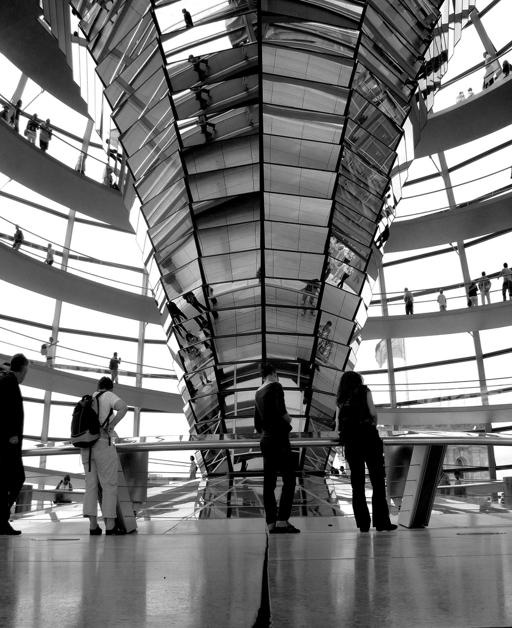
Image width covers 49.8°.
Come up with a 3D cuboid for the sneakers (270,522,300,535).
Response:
[{"bbox_3d":[0.279,2.148,5.550,0.330,0.154,0.120,-3,-2,9],"label":"sneakers"}]

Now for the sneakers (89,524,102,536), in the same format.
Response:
[{"bbox_3d":[-1.659,2.224,5.739,0.077,0.122,0.165,1,-8,9],"label":"sneakers"}]

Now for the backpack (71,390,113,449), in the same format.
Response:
[{"bbox_3d":[-1.790,1.149,6.051,0.435,0.621,0.307,5,-14,-20],"label":"backpack"}]

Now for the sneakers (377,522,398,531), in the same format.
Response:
[{"bbox_3d":[1.282,2.063,5.381,0.234,0.080,0.191,1,-14,-6],"label":"sneakers"}]

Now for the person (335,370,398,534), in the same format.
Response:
[{"bbox_3d":[1.133,1.389,5.757,0.533,1.677,0.594,-2,-13,8],"label":"person"}]

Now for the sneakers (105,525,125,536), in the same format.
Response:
[{"bbox_3d":[-1.473,2.273,5.820,0.209,0.097,0.596,3,-15,-13],"label":"sneakers"}]

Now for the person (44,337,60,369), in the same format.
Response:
[{"bbox_3d":[-8.853,1.760,23.868,0.453,1.070,0.528,6,-14,-24],"label":"person"}]

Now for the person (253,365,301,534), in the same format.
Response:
[{"bbox_3d":[0.218,1.399,6.053,0.448,1.783,0.829,0,-13,0],"label":"person"}]
